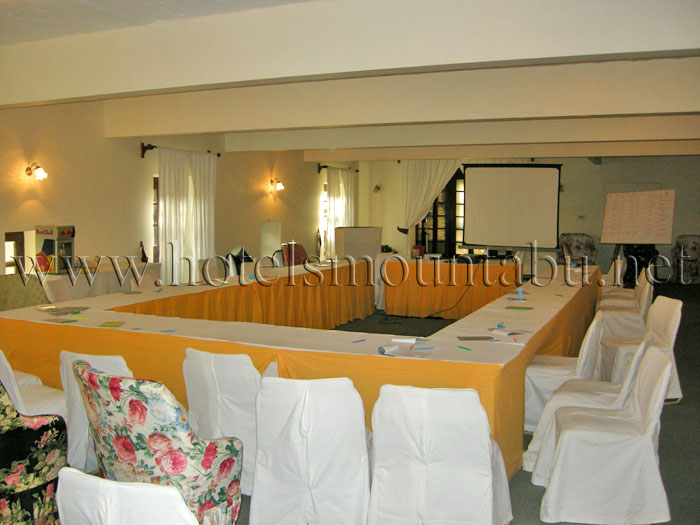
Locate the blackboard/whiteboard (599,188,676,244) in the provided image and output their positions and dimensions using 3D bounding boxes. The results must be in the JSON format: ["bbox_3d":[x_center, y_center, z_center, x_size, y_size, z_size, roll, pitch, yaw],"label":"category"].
[{"bbox_3d":[4.954,-0.754,8.760,1.389,1.215,0.091,1,-2,45],"label":"blackboard/whiteboard"}]

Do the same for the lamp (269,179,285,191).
[{"bbox_3d":[-1.749,-1.819,12.392,0.270,0.265,0.239,-4,0,33],"label":"lamp"}]

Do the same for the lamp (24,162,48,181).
[{"bbox_3d":[-4.517,-1.285,7.438,0.187,0.251,0.217,-41,41,-8],"label":"lamp"}]
